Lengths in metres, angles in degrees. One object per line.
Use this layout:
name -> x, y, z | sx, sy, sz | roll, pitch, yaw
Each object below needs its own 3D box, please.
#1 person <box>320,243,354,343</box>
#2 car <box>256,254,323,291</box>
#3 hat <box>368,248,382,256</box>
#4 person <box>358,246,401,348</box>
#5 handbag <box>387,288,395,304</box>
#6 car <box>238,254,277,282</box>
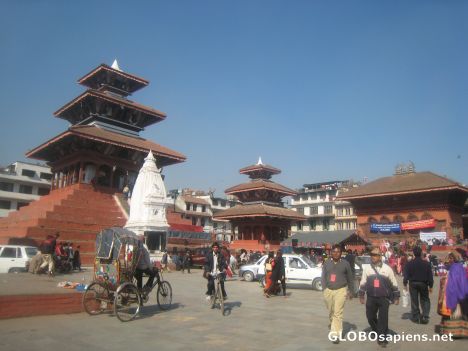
person -> 2.438, 2.717, 8.732 | 0.727, 2.121, 0.694 | 2, -3, 6
car -> 2.842, 4.508, 17.667 | 3.661, 1.590, 1.990 | -3, -6, 12
hat -> 3.450, 1.854, 9.115 | 0.186, 0.143, 0.281 | -13, -24, 37
person -> 3.283, 2.753, 8.652 | 0.819, 2.013, 0.768 | 0, -4, 36
handbag -> 3.600, 2.765, 8.637 | 0.260, 0.374, 0.088 | 4, -4, -23
car -> 1.678, 4.998, 20.450 | 2.825, 1.386, 1.673 | 0, -6, 2
